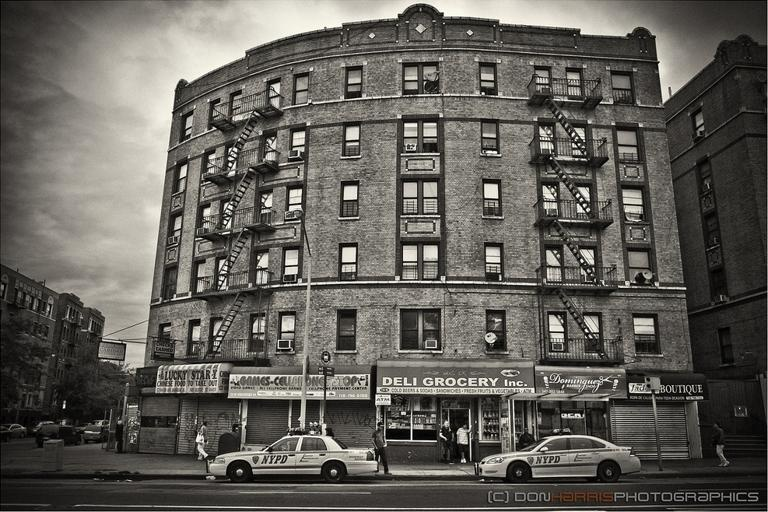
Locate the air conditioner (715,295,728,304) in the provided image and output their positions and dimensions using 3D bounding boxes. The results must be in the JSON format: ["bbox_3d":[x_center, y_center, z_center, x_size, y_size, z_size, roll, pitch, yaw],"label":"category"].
[{"bbox_3d":[21.939,2.828,46.443,0.569,0.509,0.388,5,-31,11],"label":"air conditioner"}]

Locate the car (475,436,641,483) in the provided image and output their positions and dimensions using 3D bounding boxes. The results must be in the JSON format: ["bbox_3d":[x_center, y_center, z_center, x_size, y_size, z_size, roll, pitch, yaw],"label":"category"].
[{"bbox_3d":[7.693,8.987,31.458,6.842,1.912,2.189,0,-9,-1],"label":"car"}]
